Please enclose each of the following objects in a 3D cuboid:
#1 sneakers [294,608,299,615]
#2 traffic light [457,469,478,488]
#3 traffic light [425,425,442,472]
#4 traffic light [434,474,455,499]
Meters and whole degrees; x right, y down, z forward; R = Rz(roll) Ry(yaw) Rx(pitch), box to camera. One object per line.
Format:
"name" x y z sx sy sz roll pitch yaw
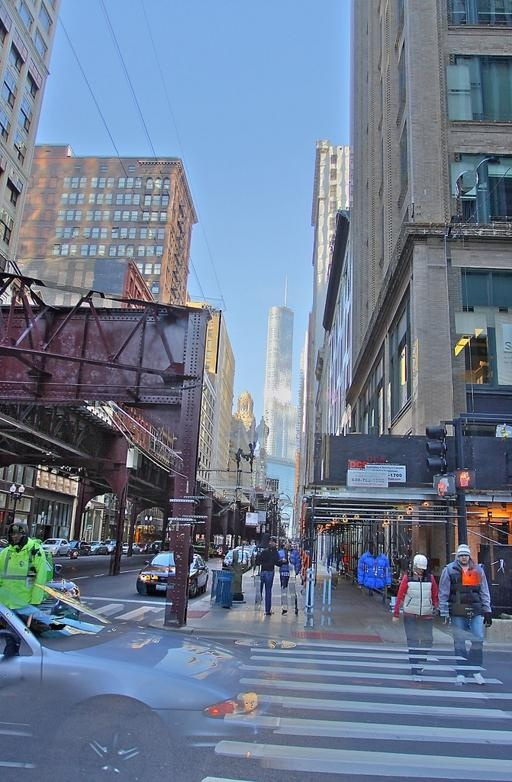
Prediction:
"sneakers" 1.276 6.940 15.883 0.116 0.223 0.138 3 -3 5
"traffic light" 5.436 2.235 12.982 0.513 0.469 0.239 7 -15 -19
"traffic light" 4.620 1.449 12.868 0.431 1.123 0.783 -4 -16 21
"traffic light" 4.890 2.375 12.968 0.508 0.539 0.469 -2 -15 14
